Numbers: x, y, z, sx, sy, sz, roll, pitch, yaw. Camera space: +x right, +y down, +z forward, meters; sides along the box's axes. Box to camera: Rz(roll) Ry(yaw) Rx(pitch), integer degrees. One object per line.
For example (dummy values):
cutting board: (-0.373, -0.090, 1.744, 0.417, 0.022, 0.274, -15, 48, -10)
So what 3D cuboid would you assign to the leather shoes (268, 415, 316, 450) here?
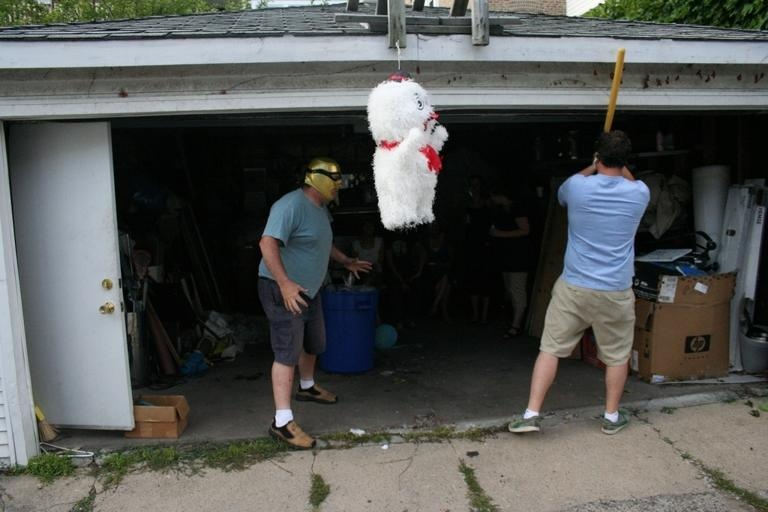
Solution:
leather shoes: (-0.875, 1.666, 6.947, 0.460, 0.247, 0.158, 4, 19, 23)

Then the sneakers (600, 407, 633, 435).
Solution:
sneakers: (2.235, 1.585, 7.077, 0.137, 0.149, 0.343, 3, 14, 44)

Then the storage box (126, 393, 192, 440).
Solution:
storage box: (-2.166, 1.584, 7.159, 0.517, 0.223, 0.356, 1, 1, -3)

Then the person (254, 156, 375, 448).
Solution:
person: (-0.796, 0.393, 7.117, 0.753, 2.585, 1.321, 0, 18, 12)

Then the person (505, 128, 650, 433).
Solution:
person: (1.901, 0.480, 6.827, 1.100, 2.409, 0.701, -2, 18, 5)

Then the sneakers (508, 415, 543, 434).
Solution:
sneakers: (1.375, 1.581, 6.867, 0.379, 0.157, 0.146, -3, -2, 43)

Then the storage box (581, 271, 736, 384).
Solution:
storage box: (3.040, 0.763, 8.331, 1.215, 1.171, 1.249, -1, 2, -8)

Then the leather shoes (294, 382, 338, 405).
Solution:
leather shoes: (-0.697, 1.458, 7.701, 0.490, 0.179, 0.170, 0, -1, 1)

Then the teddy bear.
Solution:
teddy bear: (0.171, -0.802, 5.902, 0.665, 1.269, 0.498, -16, 22, -34)

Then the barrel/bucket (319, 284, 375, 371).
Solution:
barrel/bucket: (-0.402, 0.852, 8.677, 0.899, 0.902, 0.909, 0, 0, 0)
